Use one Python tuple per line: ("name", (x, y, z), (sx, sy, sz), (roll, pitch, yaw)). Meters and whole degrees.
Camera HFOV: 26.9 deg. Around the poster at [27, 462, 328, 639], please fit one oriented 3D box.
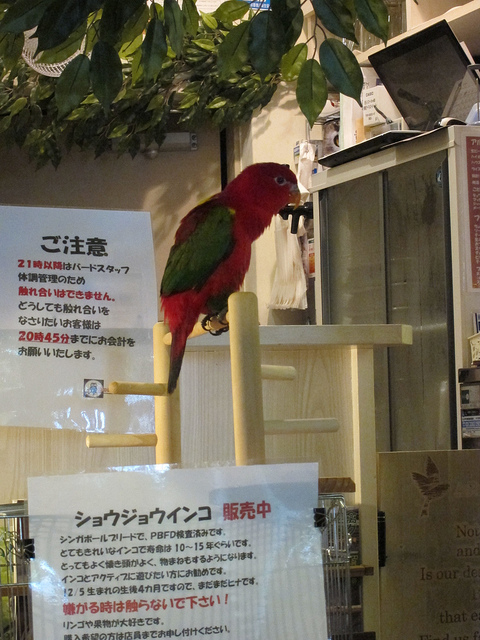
("poster", (-0.087, 0.319, 1.347), (0.402, 0.235, 0.036), (-2, -11, -9))
